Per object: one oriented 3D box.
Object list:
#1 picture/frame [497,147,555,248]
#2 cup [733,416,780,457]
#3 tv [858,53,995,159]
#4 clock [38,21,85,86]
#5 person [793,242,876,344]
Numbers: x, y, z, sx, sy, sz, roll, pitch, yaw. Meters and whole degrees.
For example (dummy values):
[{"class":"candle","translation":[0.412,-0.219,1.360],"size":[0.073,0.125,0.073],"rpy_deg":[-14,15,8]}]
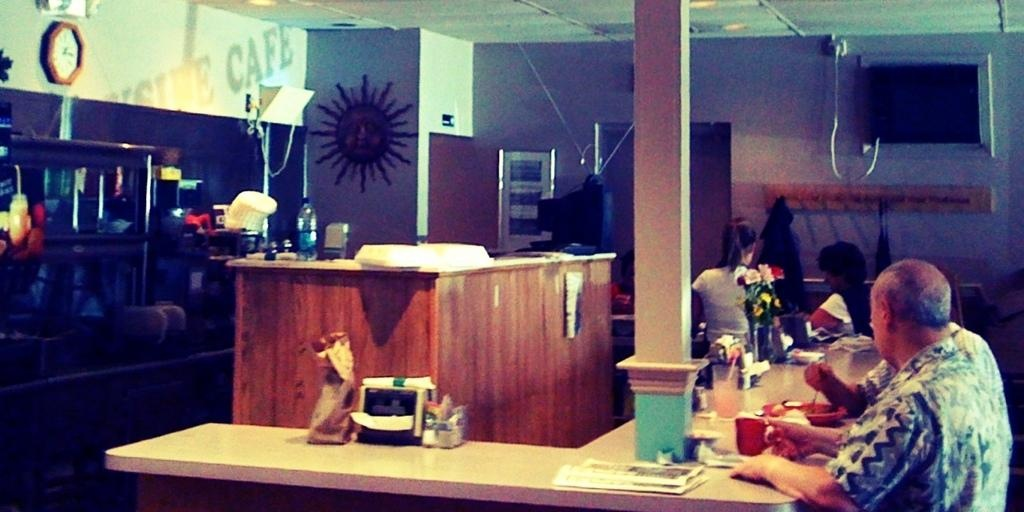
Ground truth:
[{"class":"picture/frame","translation":[0.024,-0.714,10.935],"size":[0.901,1.202,0.860],"rpy_deg":[1,1,1]},{"class":"cup","translation":[1.611,1.181,5.601],"size":[0.251,0.250,0.251],"rpy_deg":[-1,0,0]},{"class":"tv","translation":[4.883,-1.794,10.175],"size":[1.475,1.250,0.309],"rpy_deg":[6,-20,13]},{"class":"clock","translation":[-4.445,-2.016,8.384],"size":[0.097,0.627,0.403],"rpy_deg":[1,3,38]},{"class":"person","translation":[3.326,0.387,8.633],"size":[0.935,1.079,0.688],"rpy_deg":[-6,12,-40]}]
